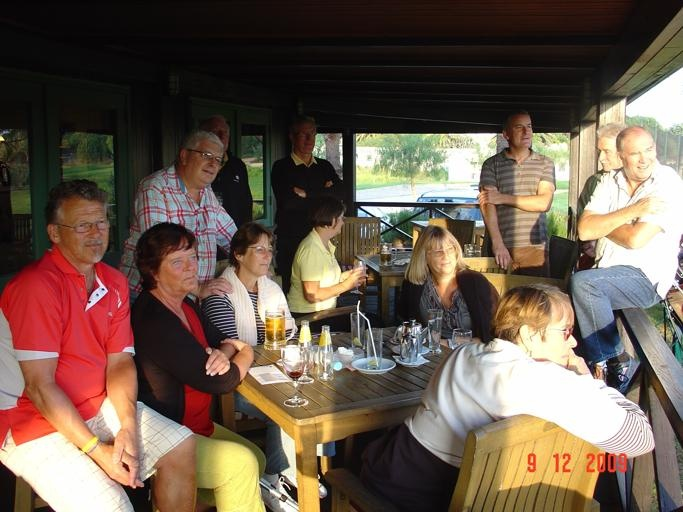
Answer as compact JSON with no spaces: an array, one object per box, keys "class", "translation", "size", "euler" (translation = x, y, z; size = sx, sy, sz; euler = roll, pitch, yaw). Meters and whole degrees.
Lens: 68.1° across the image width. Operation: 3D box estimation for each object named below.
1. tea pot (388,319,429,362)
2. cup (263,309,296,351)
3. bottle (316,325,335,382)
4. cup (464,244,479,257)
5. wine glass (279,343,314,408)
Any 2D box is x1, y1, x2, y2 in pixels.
[{"class":"tea pot","translation":[0.371,0.454,2.877],"size":[0.150,0.288,0.271],"euler":[8,11,41]},{"class":"cup","translation":[-0.346,0.423,2.985],"size":[0.211,0.232,0.140],"euler":[1,2,-1]},{"class":"bottle","translation":[-0.087,0.488,2.608],"size":[0.083,0.241,0.203],"euler":[-2,6,-3]},{"class":"cup","translation":[1.497,-0.066,5.626],"size":[0.225,0.175,0.127],"euler":[0,3,-4]},{"class":"wine glass","translation":[-0.211,0.538,2.394],"size":[0.132,0.228,0.351],"euler":[-2,6,-4]}]
